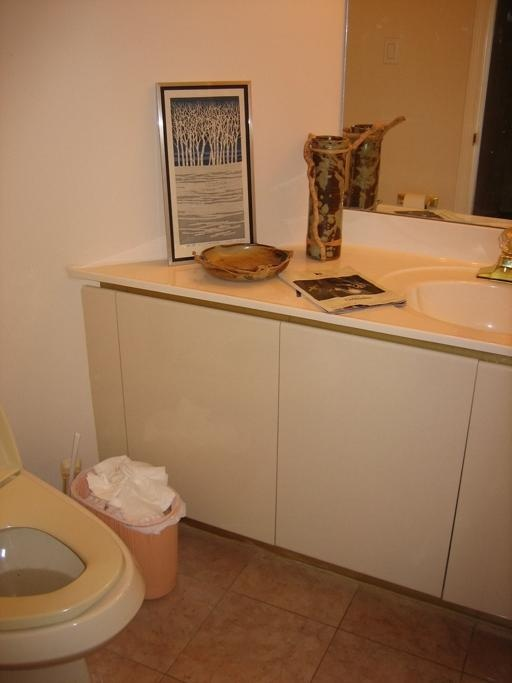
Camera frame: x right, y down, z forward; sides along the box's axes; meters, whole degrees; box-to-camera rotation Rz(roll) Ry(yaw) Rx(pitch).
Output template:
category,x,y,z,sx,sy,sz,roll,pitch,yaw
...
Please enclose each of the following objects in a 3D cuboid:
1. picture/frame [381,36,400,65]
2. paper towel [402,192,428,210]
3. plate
category,x,y,z,sx,sy,sz,roll,pitch,yaw
picture/frame,0.313,-0.677,1.257,0.054,0.071,0.009,22,42,32
paper towel,0.402,-0.354,1.379,0.055,0.041,0.013,12,12,20
plate,-0.035,-0.197,1.317,0.156,0.033,0.131,-9,27,-18
